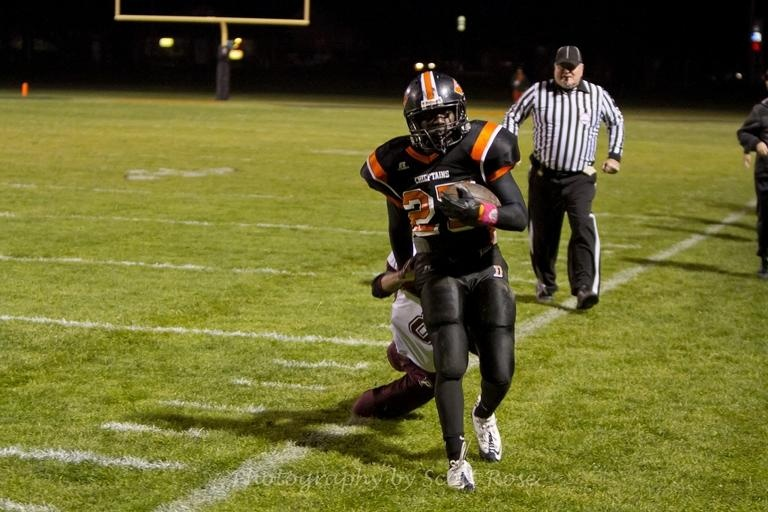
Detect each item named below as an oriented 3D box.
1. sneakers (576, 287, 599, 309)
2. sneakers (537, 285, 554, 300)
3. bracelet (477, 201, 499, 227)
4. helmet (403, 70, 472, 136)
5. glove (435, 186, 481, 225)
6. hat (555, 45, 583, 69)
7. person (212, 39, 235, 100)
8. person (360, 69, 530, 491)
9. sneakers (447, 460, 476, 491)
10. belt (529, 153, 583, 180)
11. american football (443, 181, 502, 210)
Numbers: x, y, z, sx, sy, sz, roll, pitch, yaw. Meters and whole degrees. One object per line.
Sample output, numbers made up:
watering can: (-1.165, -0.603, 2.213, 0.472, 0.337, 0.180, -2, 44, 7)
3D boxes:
sneakers: (1.728, 0.374, 7.870, 0.160, 0.186, 0.143, 2, 10, 6)
sneakers: (1.431, 0.325, 8.236, 0.141, 0.118, 0.141, 5, 1, 1)
bracelet: (0.613, -0.253, 5.479, 0.120, 0.114, 0.138, 3, -15, 0)
helmet: (0.320, -0.965, 5.793, 0.356, 0.328, 0.429, -10, 28, 14)
glove: (0.461, -0.304, 5.501, 0.230, 0.233, 0.155, 7, 11, 29)
hat: (1.653, -1.771, 8.200, 0.192, 0.125, 0.266, 7, 20, 22)
person: (-2.061, -2.418, 11.915, 0.397, 0.336, 1.015, 2, -21, -11)
person: (0.446, 0.103, 5.805, 0.693, 2.488, 0.910, -7, 13, -40)
sneakers: (0.478, 1.307, 5.581, 0.195, 0.203, 0.152, -2, 10, -15)
belt: (1.470, -0.760, 8.115, 0.299, 0.084, 0.290, -1, 23, -32)
american football: (0.524, -0.374, 5.537, 0.265, 0.141, 0.176, 4, 20, 0)
